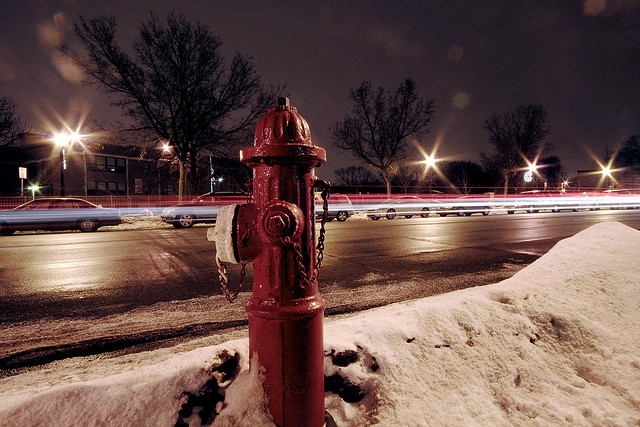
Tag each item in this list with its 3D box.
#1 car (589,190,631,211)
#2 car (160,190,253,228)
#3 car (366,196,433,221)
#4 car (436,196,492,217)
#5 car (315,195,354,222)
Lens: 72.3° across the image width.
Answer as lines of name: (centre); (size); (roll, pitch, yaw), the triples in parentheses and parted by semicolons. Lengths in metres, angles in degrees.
car: (23.810, -1.141, 35.821); (2.556, 1.516, 7.509); (1, 3, 37)
car: (-4.474, 0.182, 19.429); (1.590, 1.615, 4.161); (23, 7, 5)
car: (4.066, -0.021, 23.213); (3.674, 1.331, 1.401); (1, -5, -33)
car: (8.641, -0.436, 26.030); (1.844, 1.101, 5.041); (2, 3, 42)
car: (0.669, -0.218, 20.672); (1.673, 0.943, 0.945); (2, -3, -9)
